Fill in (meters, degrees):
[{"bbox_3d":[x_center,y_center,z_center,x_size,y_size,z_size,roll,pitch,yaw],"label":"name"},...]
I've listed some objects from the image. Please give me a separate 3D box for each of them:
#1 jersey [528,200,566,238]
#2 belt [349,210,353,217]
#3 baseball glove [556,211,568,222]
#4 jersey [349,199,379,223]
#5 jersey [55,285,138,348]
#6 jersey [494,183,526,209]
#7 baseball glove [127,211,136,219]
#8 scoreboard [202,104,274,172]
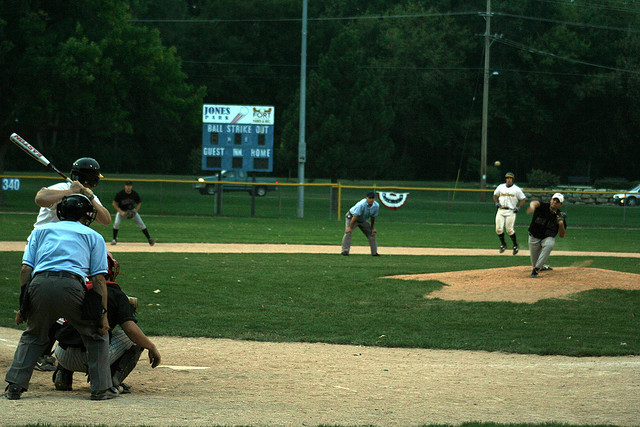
[{"bbox_3d":[11.492,0.347,59.800,2.151,2.528,1.389,6,-1,-4],"label":"jersey"},{"bbox_3d":[1.649,0.050,63.423,0.071,0.270,0.291,-38,20,-16],"label":"belt"},{"bbox_3d":[12.225,0.262,59.792,0.617,0.316,0.796,-5,6,10],"label":"baseball glove"},{"bbox_3d":[2.347,-0.091,63.245,1.194,0.501,1.312,13,-36,-20],"label":"jersey"},{"bbox_3d":[-10.252,4.480,54.222,2.860,3.172,2.568,0,0,-8],"label":"jersey"},{"bbox_3d":[10.450,-0.935,65.218,1.900,1.441,0.830,11,21,33],"label":"jersey"},{"bbox_3d":[-10.370,0.121,64.663,0.334,0.389,0.382,18,-44,-34],"label":"baseball glove"},{"bbox_3d":[-5.281,-4.893,76.077,4.154,4.114,0.819,0,3,4],"label":"scoreboard"}]
